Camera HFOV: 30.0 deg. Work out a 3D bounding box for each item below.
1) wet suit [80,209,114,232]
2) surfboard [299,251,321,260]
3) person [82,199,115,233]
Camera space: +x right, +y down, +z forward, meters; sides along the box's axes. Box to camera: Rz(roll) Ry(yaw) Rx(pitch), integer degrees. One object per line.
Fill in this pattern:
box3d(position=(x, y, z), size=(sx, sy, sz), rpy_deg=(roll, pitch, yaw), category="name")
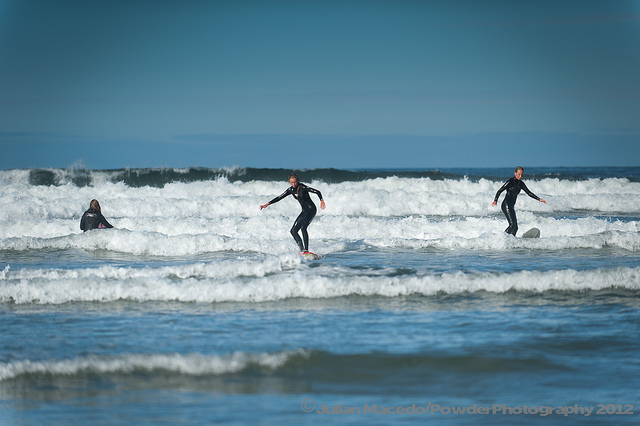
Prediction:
box3d(position=(-6.088, 0.231, 32.678), size=(0.556, 1.007, 0.372), rpy_deg=(-5, -35, 11), category="wet suit")
box3d(position=(-0.226, 1.074, 29.993), size=(0.527, 0.261, 1.006), rpy_deg=(-4, -4, 0), category="surfboard")
box3d(position=(-6.231, 0.117, 33.788), size=(1.020, 1.106, 0.692), rpy_deg=(1, 10, 7), category="person")
